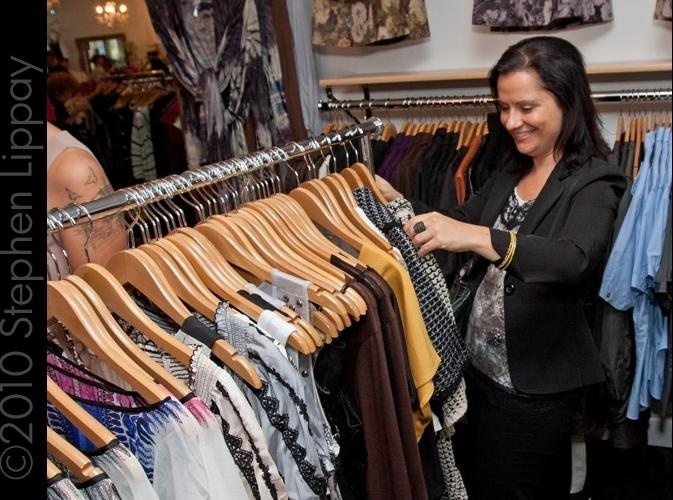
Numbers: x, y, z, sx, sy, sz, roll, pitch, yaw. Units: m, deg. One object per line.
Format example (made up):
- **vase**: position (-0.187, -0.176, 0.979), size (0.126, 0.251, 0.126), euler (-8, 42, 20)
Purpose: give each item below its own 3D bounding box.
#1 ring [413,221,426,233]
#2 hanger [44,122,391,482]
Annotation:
- **ring**: position (0.200, -0.053, 1.186), size (0.026, 0.030, 0.025), euler (-15, 13, 3)
- **hanger**: position (-0.186, 0.038, 1.032), size (0.486, 0.319, 0.771), euler (2, 15, 19)
